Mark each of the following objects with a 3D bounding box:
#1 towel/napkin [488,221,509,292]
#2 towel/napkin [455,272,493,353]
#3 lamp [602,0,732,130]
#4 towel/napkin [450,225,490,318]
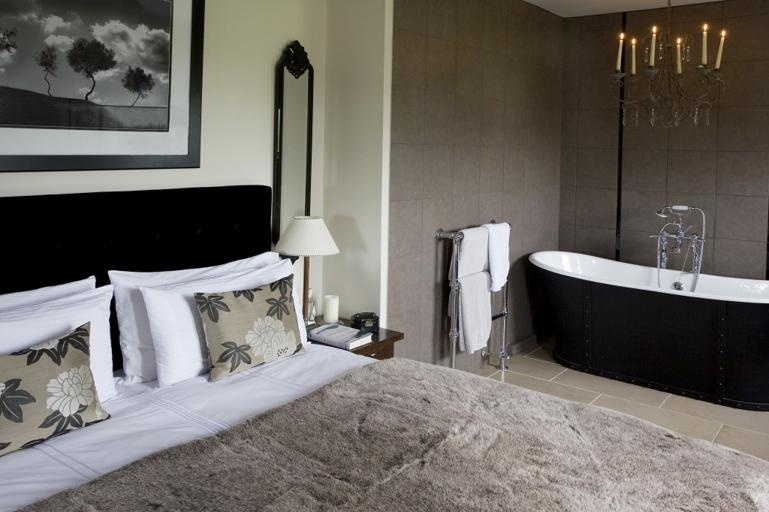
[{"bbox_3d":[1.007,0.002,4.633,0.128,0.513,0.413,5,10,38],"label":"towel/napkin"},{"bbox_3d":[0.762,0.477,4.427,0.140,0.586,0.515,1,5,39],"label":"towel/napkin"},{"bbox_3d":[2.702,-1.800,4.853,0.961,1.185,1.244,5,13,17],"label":"lamp"},{"bbox_3d":[0.702,0.130,4.392,0.206,0.829,0.725,1,3,33],"label":"towel/napkin"}]
